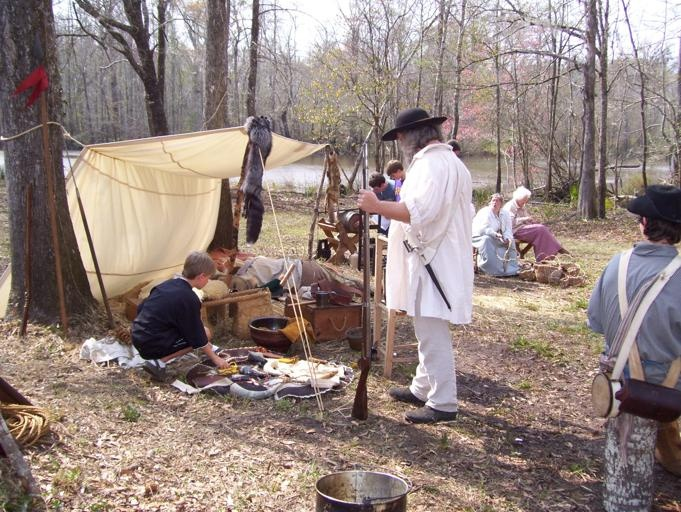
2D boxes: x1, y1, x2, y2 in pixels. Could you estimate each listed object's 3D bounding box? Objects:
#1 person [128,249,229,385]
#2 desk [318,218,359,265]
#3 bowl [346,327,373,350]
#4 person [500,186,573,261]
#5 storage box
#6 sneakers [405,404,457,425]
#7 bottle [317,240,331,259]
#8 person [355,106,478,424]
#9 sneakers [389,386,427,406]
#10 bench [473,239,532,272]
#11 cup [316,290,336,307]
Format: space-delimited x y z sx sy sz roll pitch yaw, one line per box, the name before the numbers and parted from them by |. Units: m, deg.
person | -1.523 0.586 6.389 0.991 1.244 0.716 11 14 0
desk | -0.014 -0.277 10.561 0.597 0.781 0.782 -6 12 -20
bowl | 0.185 0.862 6.926 0.288 0.177 0.289 1 0 0
person | 3.695 -0.569 11.520 1.433 1.619 0.758 4 9 29
storage box | -0.221 0.608 7.326 0.537 0.350 0.569 -2 6 -29
sneakers | 0.761 1.361 5.629 0.431 0.190 0.171 3 -1 -1
bottle | -0.267 -0.128 10.946 0.275 0.444 0.281 0 8 0
person | 0.699 0.103 5.512 0.793 2.654 0.612 2 8 11
sneakers | 0.598 1.235 5.992 0.334 0.142 0.124 15 13 25
bench | 2.480 0.017 10.395 0.475 0.282 0.694 2 16 0
cup | -0.175 0.465 7.233 0.132 0.148 0.207 7 10 40
